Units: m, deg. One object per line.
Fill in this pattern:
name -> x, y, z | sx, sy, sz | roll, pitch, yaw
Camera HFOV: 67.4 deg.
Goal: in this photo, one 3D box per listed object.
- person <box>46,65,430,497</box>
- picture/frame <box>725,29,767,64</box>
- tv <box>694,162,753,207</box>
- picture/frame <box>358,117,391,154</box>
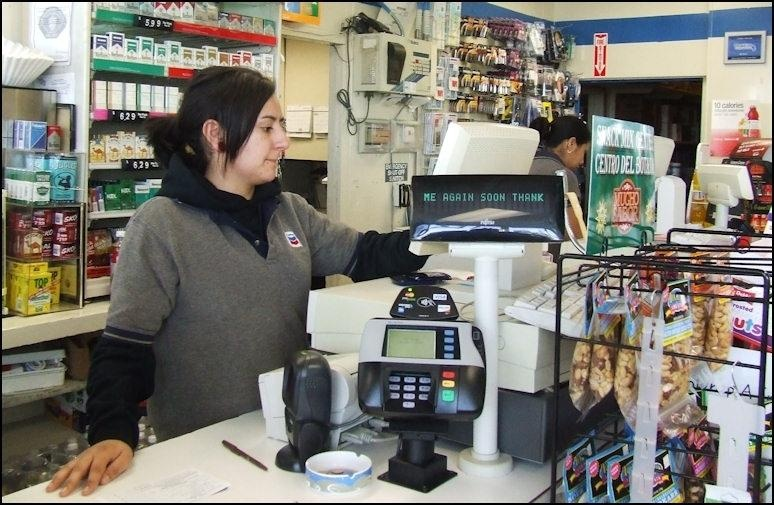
person -> -0.489, 0.275, 2.073 | 0.942, 1.786, 0.879 | 6, 10, 35
picture/frame -> 4.320, -2.458, 6.914 | 0.479, 0.398, 0.049 | 4, 6, 42
tv -> 1.966, -0.387, 3.373 | 0.122, 0.234, 0.338 | -6, 11, -12
picture/frame -> -0.129, -1.165, 5.826 | 0.374, 0.305, 0.134 | -6, 10, -35
